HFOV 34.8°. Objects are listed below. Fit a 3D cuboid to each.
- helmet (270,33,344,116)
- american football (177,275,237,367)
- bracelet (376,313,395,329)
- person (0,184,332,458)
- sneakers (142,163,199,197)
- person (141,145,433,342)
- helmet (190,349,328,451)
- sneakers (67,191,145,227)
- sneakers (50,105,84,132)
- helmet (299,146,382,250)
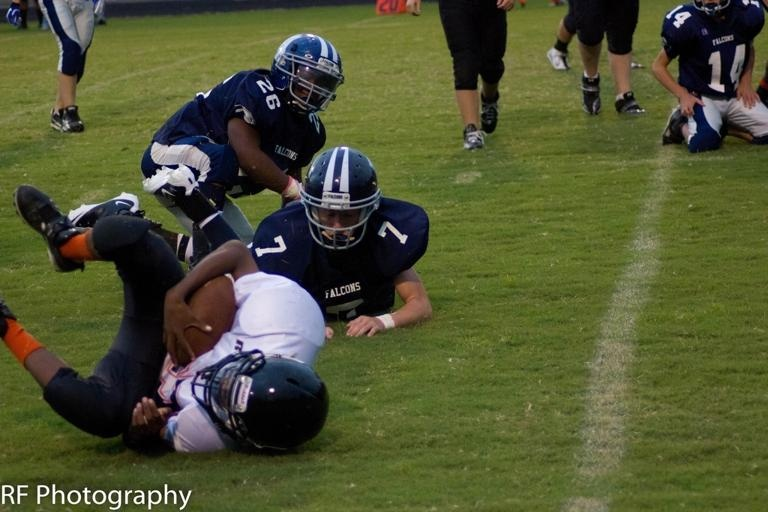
[{"bbox_3d":[-0.445,-1.055,7.167,0.405,0.378,0.488,8,26,-29],"label":"helmet"},{"bbox_3d":[-0.808,0.273,5.755,0.366,0.230,0.103,-55,15,-13],"label":"american football"},{"bbox_3d":[0.012,0.349,6.508,0.085,0.063,0.067,-10,25,-15],"label":"bracelet"},{"bbox_3d":[-0.902,0.435,5.798,1.580,0.657,1.013,19,34,-6],"label":"person"},{"bbox_3d":[-1.049,-0.380,6.006,0.237,0.106,0.138,-9,22,-1],"label":"sneakers"},{"bbox_3d":[-0.290,-0.101,6.546,0.918,0.815,1.107,0,37,-1],"label":"person"},{"bbox_3d":[-0.590,0.658,5.656,0.607,0.376,0.336,7,20,-7],"label":"helmet"},{"bbox_3d":[-1.498,-0.243,6.535,0.314,0.101,0.263,-7,5,-10],"label":"sneakers"},{"bbox_3d":[-2.507,-1.065,9.640,0.134,0.137,0.336,-18,24,-33],"label":"sneakers"},{"bbox_3d":[-0.225,-0.293,6.438,0.469,0.426,0.532,3,28,2],"label":"helmet"}]
